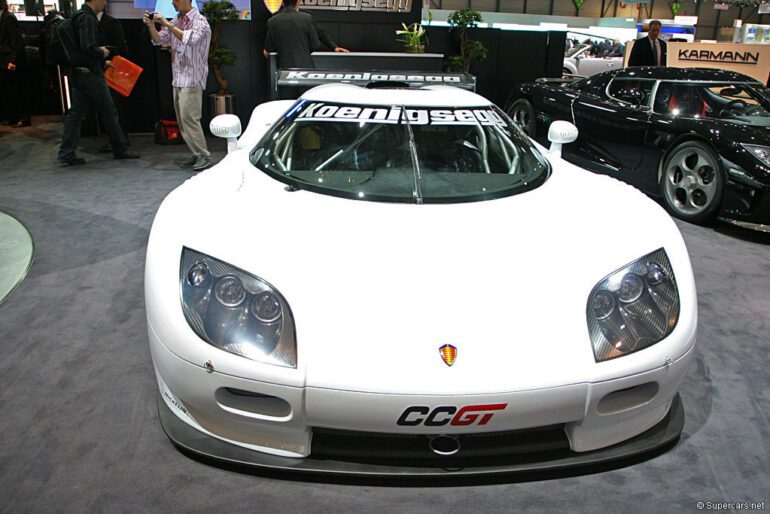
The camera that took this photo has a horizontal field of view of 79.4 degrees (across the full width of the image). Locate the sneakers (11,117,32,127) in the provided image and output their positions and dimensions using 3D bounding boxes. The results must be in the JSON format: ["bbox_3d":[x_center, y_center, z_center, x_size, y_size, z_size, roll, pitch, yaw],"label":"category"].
[{"bbox_3d":[-7.141,-2.658,9.124,0.333,0.206,0.114,-9,54,-39],"label":"sneakers"}]

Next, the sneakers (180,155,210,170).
[{"bbox_3d":[-2.710,-1.329,6.580,0.501,0.220,0.189,3,11,35],"label":"sneakers"}]

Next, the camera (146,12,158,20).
[{"bbox_3d":[-3.049,-3.165,6.071,0.115,0.113,0.028,2,-7,11],"label":"camera"}]

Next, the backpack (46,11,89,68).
[{"bbox_3d":[-4.311,-2.911,6.258,0.499,0.620,0.271,8,24,18],"label":"backpack"}]

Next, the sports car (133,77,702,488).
[{"bbox_3d":[0.079,0.131,2.667,1.624,0.876,2.961,0,24,-3],"label":"sports car"}]

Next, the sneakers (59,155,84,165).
[{"bbox_3d":[-4.351,-1.363,6.517,0.315,0.133,0.117,-13,64,-44],"label":"sneakers"}]
